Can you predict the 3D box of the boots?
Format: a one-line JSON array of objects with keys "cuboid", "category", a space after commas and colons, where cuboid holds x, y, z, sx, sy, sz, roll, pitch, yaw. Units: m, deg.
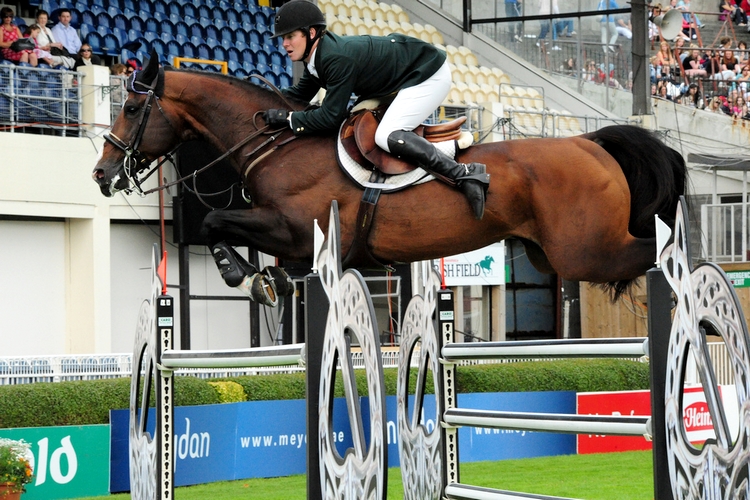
[{"cuboid": [0.730, -0.876, 17.522, 1.448, 0.473, 0.696, 26, 23, 22], "category": "boots"}]
